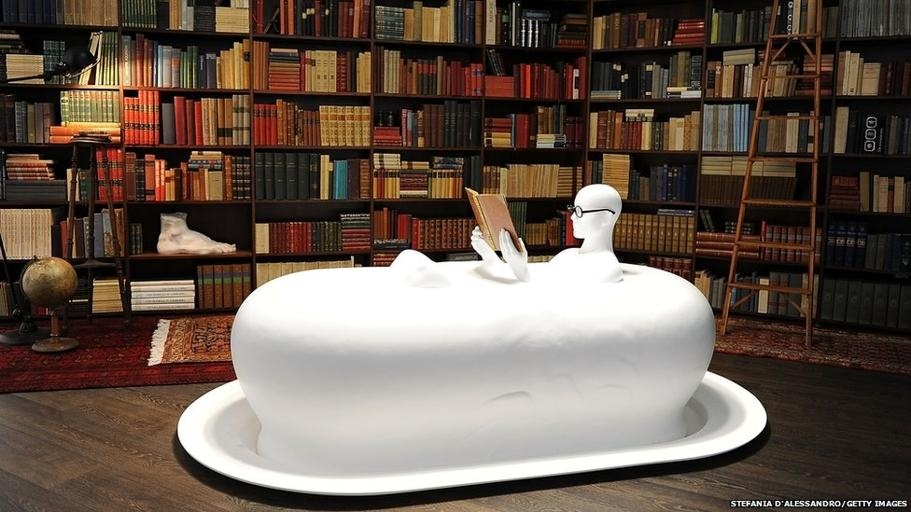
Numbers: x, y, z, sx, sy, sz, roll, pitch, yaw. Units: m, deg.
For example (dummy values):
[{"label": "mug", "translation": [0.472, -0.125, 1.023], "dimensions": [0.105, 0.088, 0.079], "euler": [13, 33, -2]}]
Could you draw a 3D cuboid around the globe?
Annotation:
[{"label": "globe", "translation": [-3.573, 0.420, 5.981], "dimensions": [0.444, 0.798, 0.470], "euler": [3, 7, 25]}]
